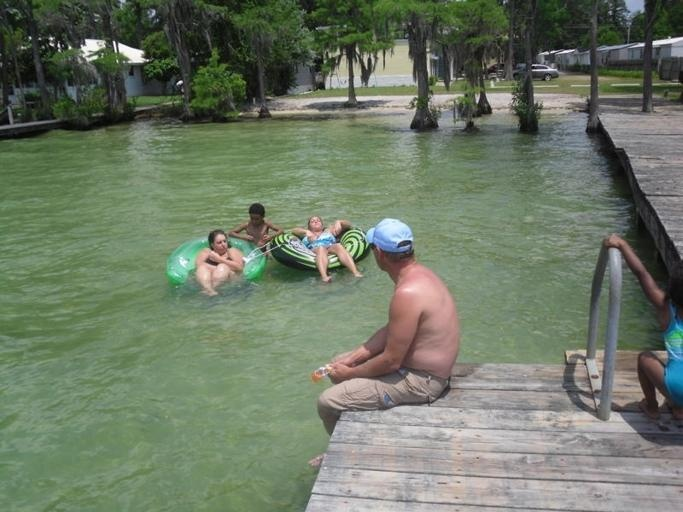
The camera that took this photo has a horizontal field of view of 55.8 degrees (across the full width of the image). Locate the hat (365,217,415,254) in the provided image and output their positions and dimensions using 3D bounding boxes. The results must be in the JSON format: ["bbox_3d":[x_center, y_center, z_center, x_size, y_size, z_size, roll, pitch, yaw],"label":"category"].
[{"bbox_3d":[0.412,-0.164,5.788,0.270,0.227,0.387,-8,28,-19],"label":"hat"}]

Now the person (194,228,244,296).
[{"bbox_3d":[-2.154,0.170,11.178,0.883,0.952,1.689,1,19,-2],"label":"person"}]

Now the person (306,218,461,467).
[{"bbox_3d":[0.436,0.672,5.745,1.182,1.843,0.466,-1,18,6],"label":"person"}]
